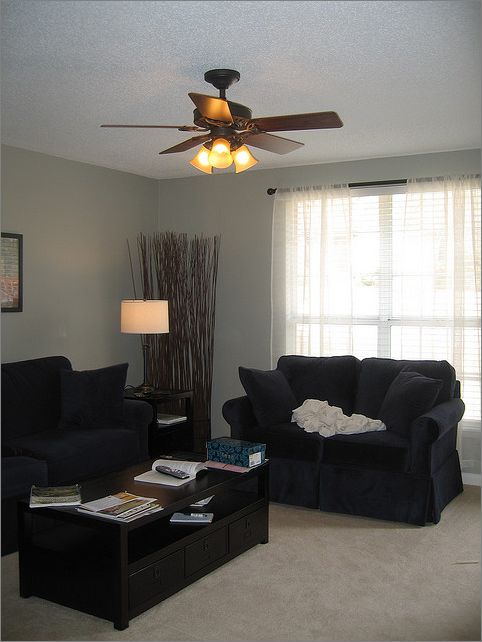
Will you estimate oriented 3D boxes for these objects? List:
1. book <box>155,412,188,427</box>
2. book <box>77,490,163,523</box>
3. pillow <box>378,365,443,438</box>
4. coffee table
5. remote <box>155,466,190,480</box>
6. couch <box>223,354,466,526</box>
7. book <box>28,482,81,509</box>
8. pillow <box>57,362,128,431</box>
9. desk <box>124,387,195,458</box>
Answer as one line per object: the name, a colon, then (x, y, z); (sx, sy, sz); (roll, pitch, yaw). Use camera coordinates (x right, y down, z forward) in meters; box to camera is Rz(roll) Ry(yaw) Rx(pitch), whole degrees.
book: (-0.549, 0.790, 4.287); (0.238, 0.073, 0.262); (1, -2, -9)
book: (-0.478, 0.750, 2.188); (0.298, 0.026, 0.298); (-1, -3, 32)
pillow: (1.102, 0.534, 3.487); (0.263, 0.402, 0.498); (1, -2, -8)
coffee table: (-0.535, 0.733, 2.320); (0.479, 0.360, 0.918); (1, 3, 30)
remote: (-0.343, 0.741, 2.643); (0.181, 0.038, 0.054); (9, 10, 35)
couch: (0.732, 0.767, 3.803); (1.471, 0.936, 0.884); (0, 2, 33)
book: (-0.809, 0.754, 2.324); (0.187, 0.057, 0.190); (4, 1, -11)
pillow: (-1.045, 0.547, 3.774); (0.418, 0.435, 0.154); (-4, -4, -5)
desk: (-0.576, 0.885, 4.417); (0.380, 0.502, 0.425); (-6, -6, -9)
